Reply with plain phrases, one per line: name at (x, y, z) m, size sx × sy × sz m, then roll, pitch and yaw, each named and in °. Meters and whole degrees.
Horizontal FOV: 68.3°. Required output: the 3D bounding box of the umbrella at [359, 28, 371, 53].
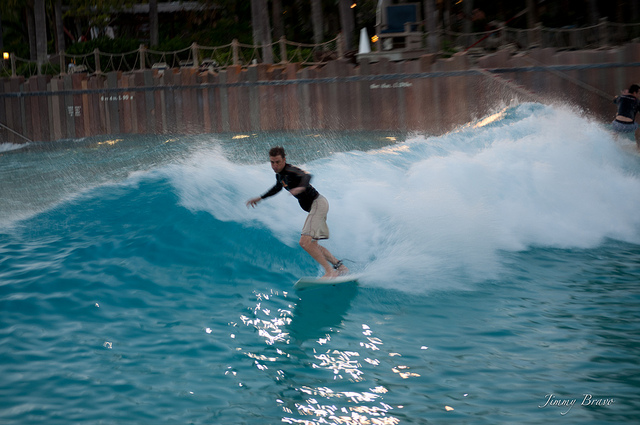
umbrella at (1.304, -5.074, 14.097) m, size 0.329 × 0.781 × 0.802 m, roll -2°, pitch 9°, yaw 5°

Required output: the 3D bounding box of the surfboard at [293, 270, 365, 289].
surfboard at (0.109, 0.924, 6.438) m, size 1.015 × 0.077 × 0.123 m, roll -6°, pitch 1°, yaw 1°

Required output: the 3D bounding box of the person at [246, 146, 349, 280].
person at (-0.271, 0.005, 6.635) m, size 1.171 × 1.802 × 0.680 m, roll 1°, pitch 11°, yaw 21°

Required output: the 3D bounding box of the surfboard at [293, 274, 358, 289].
surfboard at (0.140, 0.920, 6.359) m, size 0.978 × 0.111 × 0.243 m, roll 0°, pitch 16°, yaw -18°
